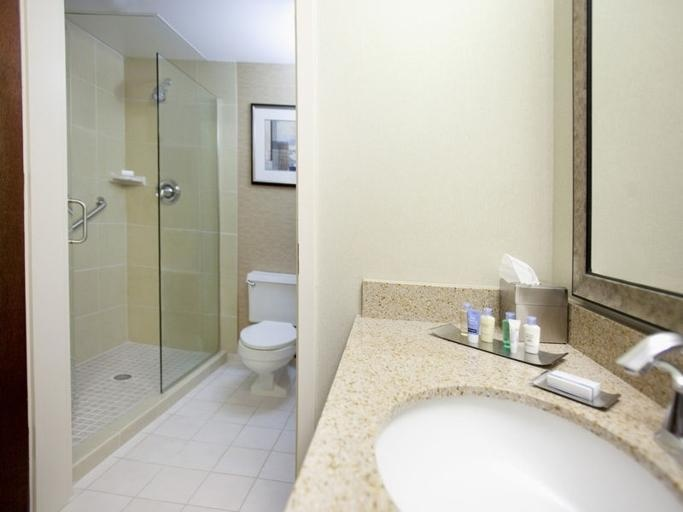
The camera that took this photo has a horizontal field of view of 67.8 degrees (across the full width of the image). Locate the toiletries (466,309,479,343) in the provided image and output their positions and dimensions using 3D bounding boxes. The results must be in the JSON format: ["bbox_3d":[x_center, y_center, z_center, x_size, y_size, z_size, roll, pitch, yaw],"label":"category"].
[{"bbox_3d":[0.499,0.267,1.930,0.054,0.111,0.072,7,14,16],"label":"toiletries"}]

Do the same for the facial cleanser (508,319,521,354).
[{"bbox_3d":[0.637,0.286,1.881,0.052,0.111,0.119,8,15,20],"label":"facial cleanser"}]

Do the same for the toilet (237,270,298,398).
[{"bbox_3d":[-0.476,0.552,3.423,0.392,0.744,0.697,4,9,3],"label":"toilet"}]

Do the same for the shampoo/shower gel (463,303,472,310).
[{"bbox_3d":[0.496,0.200,2.010,0.027,0.015,0.036,6,8,15],"label":"shampoo/shower gel"}]

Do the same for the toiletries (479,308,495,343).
[{"bbox_3d":[0.567,0.257,1.969,0.063,0.129,0.139,8,15,18],"label":"toiletries"}]

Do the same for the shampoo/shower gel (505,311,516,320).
[{"bbox_3d":[0.629,0.221,1.899,0.031,0.023,0.032,1,-2,26],"label":"shampoo/shower gel"}]

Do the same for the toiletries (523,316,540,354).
[{"bbox_3d":[0.692,0.285,1.851,0.062,0.123,0.069,10,15,26],"label":"toiletries"}]
